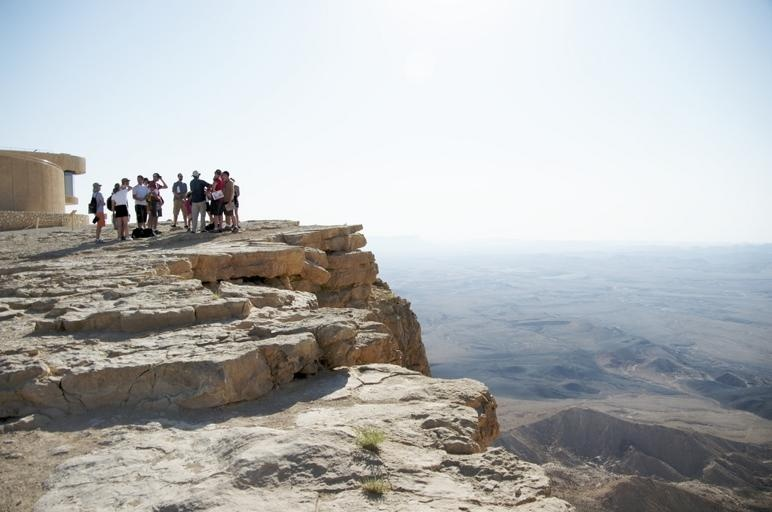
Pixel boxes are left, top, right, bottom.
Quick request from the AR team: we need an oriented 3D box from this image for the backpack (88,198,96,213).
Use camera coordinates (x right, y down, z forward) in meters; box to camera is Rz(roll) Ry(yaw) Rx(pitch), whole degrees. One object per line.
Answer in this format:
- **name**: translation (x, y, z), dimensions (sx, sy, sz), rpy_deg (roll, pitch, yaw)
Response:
- **backpack**: translation (-11.634, -2.007, 20.334), dimensions (0.123, 0.627, 0.717), rpy_deg (-1, 3, -39)

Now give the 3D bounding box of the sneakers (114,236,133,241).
- **sneakers**: translation (-10.736, -0.746, 21.004), dimensions (0.626, 0.237, 0.203), rpy_deg (-5, 1, 16)

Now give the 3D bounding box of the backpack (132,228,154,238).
- **backpack**: translation (-10.239, -0.976, 21.603), dimensions (0.606, 0.148, 0.588), rpy_deg (-6, 18, -37)
